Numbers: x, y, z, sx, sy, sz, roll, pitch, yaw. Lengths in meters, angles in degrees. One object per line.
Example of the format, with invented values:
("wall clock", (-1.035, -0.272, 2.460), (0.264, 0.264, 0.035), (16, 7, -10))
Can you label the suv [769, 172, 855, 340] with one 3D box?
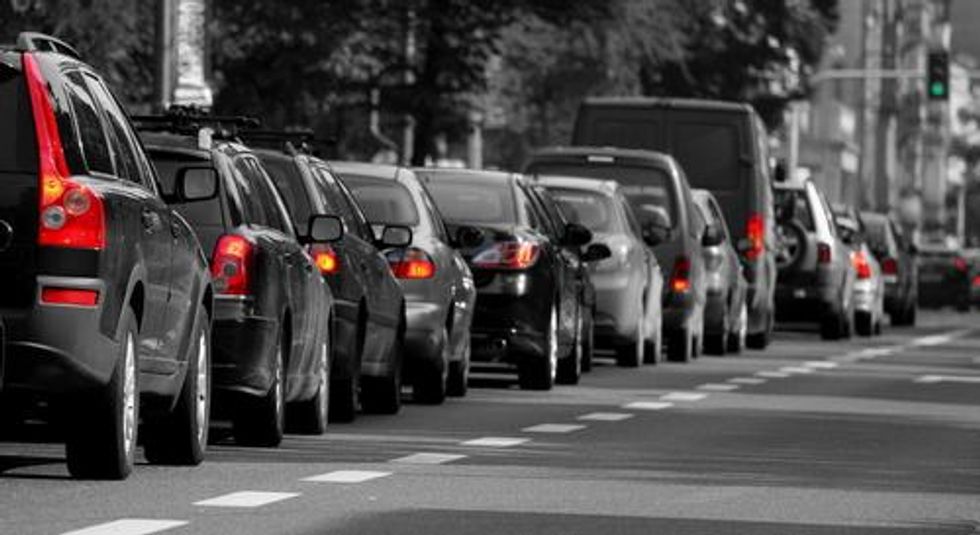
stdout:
("suv", (6.798, -0.286, 29.098), (1.642, 3.661, 3.666), (-4, -6, 14))
